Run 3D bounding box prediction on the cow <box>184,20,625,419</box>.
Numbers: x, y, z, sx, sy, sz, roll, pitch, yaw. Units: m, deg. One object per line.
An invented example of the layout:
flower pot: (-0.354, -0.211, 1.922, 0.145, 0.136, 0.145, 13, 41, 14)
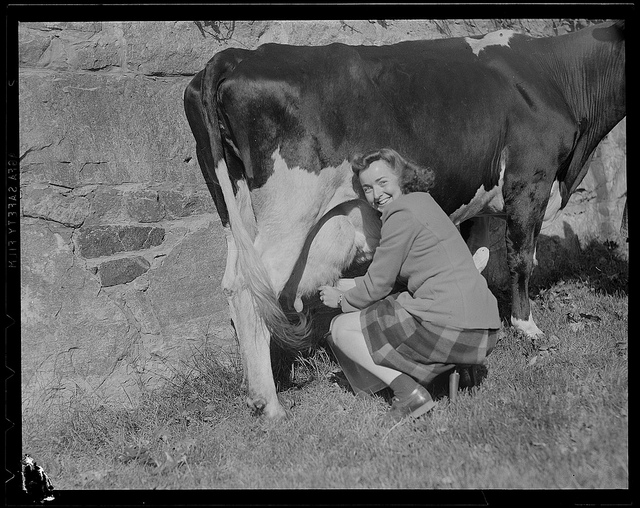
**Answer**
cow: (0.597, -0.370, 4.568, 2.617, 2.145, 0.557, -17, 18, -13)
